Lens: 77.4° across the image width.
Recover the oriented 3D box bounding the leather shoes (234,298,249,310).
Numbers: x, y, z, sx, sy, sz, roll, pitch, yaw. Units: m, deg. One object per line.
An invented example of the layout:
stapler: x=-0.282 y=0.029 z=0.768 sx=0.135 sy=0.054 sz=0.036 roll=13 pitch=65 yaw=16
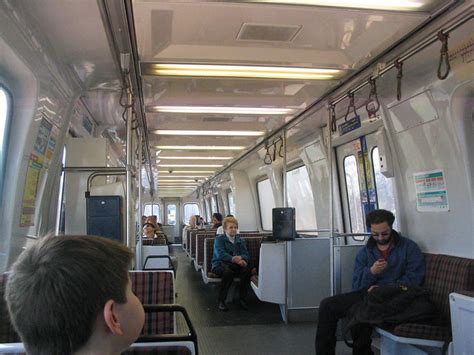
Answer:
leather shoes: x=0.103 y=2.682 z=6.338 sx=0.153 sy=0.205 sz=0.459 roll=5 pitch=-8 yaw=-28

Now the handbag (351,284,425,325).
handbag: x=1.745 y=1.421 z=3.289 sx=0.603 sy=0.239 sz=0.489 roll=-2 pitch=-11 yaw=-2

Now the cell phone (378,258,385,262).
cell phone: x=1.876 y=1.075 z=3.837 sx=0.076 sy=0.044 sz=0.046 roll=-12 pitch=-14 yaw=-2

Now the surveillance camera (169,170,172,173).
surveillance camera: x=-2.750 y=-0.233 z=12.229 sx=0.087 sy=0.093 sz=0.157 roll=5 pitch=22 yaw=-21
